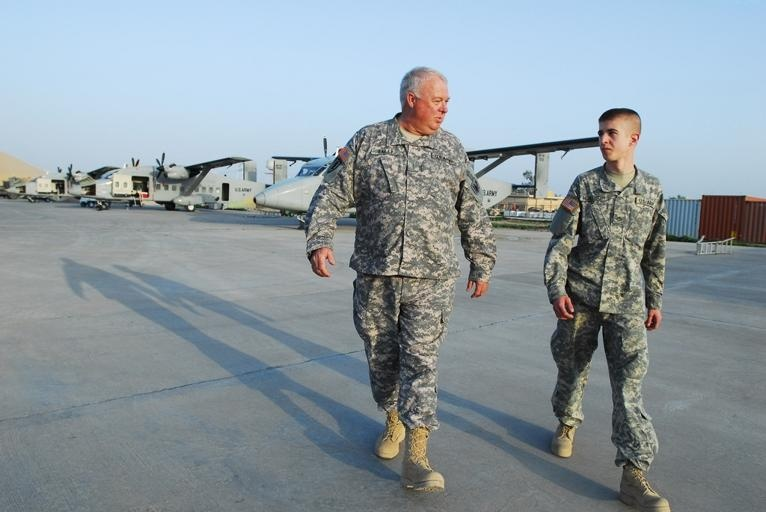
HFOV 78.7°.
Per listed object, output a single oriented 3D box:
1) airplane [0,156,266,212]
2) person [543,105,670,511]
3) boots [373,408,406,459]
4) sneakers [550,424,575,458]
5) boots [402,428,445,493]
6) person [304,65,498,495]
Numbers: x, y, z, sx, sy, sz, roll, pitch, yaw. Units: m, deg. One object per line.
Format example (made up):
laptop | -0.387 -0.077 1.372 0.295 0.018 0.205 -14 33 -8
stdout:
airplane | -18.089 -5.321 34.693 22.035 3.517 12.773 3 6 7
person | 1.426 0.227 2.943 0.780 2.276 0.701 9 8 41
boots | 0.073 1.158 3.058 0.161 0.229 0.407 2 0 10
sneakers | 1.153 1.212 3.046 0.101 0.104 0.271 3 -4 15
boots | 0.227 1.186 2.755 0.165 0.300 0.433 10 -17 -19
person | 0.085 0.083 2.936 1.144 2.464 0.686 5 6 13
